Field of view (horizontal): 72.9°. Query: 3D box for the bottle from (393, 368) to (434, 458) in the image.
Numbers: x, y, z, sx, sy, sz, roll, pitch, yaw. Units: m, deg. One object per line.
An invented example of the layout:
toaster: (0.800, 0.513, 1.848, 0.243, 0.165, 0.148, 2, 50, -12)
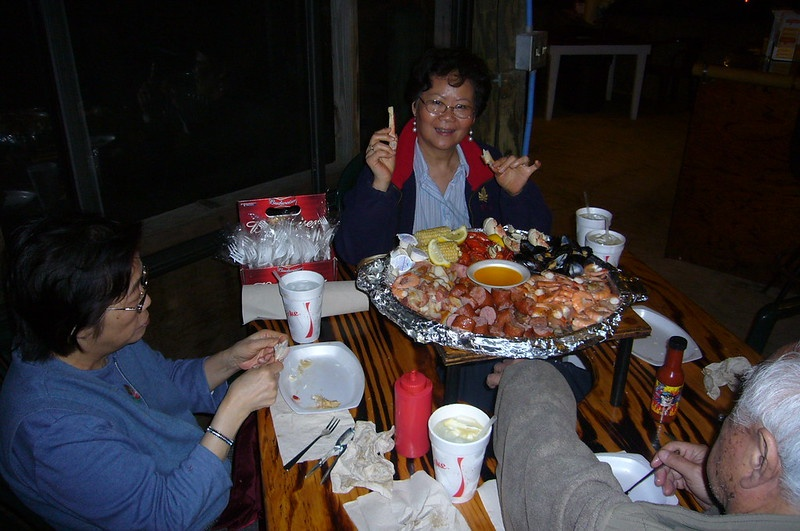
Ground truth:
bottle: (0.054, 0.654, 2.340, 0.159, 0.394, 0.152, 0, 24, 0)

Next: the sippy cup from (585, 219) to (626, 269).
sippy cup: (1.185, -0.121, 3.142, 0.228, 0.259, 0.242, -2, 31, 1)

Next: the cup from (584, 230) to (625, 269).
cup: (1.171, -0.122, 3.177, 0.232, 0.255, 0.232, -3, 34, 2)

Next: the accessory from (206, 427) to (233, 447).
accessory: (-0.800, 0.758, 2.425, 0.095, 0.027, 0.100, 30, -6, 3)

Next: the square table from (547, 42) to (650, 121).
square table: (4.059, -3.731, 11.414, 2.096, 1.558, 2.087, 0, 34, 7)

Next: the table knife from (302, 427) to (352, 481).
table knife: (-0.317, 0.831, 2.370, 0.036, 0.029, 0.250, -6, 32, 36)

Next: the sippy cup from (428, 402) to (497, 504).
sippy cup: (0.248, 0.780, 2.260, 0.270, 0.317, 0.263, -2, 22, 1)

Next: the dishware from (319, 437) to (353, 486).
dishware: (-0.269, 0.838, 2.370, 0.049, 0.015, 0.276, 1, 38, 28)

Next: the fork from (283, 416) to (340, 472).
fork: (-0.392, 0.802, 2.412, 0.034, 0.028, 0.253, 26, 50, 30)

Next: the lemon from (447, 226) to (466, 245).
lemon: (0.349, -0.181, 3.201, 0.109, 0.046, 0.108, -39, 31, 8)
